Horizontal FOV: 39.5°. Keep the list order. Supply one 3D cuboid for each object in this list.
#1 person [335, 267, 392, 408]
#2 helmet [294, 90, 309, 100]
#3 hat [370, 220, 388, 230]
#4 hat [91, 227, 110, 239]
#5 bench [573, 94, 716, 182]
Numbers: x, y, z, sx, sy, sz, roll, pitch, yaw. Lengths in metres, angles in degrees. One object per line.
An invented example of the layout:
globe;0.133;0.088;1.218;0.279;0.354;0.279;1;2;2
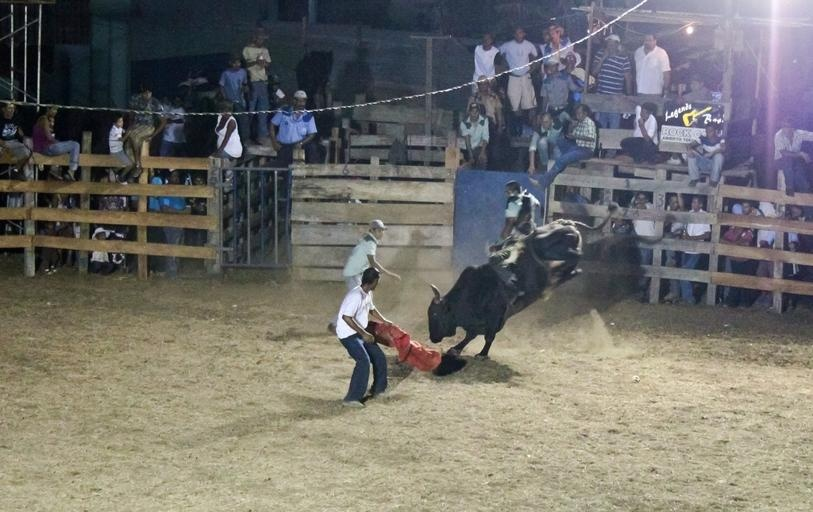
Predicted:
person;-0.944;1.784;25.014;1.165;3.041;0.738;-2;6;-44
helmet;-3.100;-4.648;32.860;0.358;0.230;0.501;-1;13;-8
hat;-0.773;-0.705;26.939;0.343;0.172;0.268;-3;4;14
hat;-8.581;-0.595;31.692;0.357;0.114;0.355;-8;-36;1
bench;7.184;-2.686;33.807;4.358;1.979;2.511;4;-33;9
